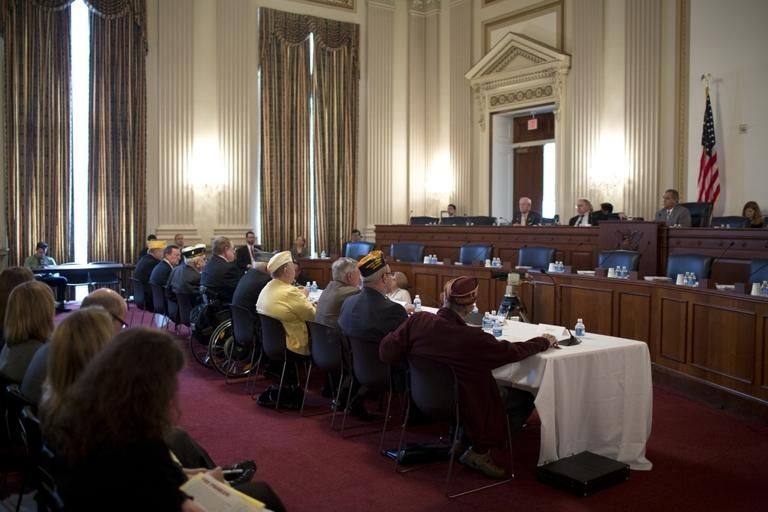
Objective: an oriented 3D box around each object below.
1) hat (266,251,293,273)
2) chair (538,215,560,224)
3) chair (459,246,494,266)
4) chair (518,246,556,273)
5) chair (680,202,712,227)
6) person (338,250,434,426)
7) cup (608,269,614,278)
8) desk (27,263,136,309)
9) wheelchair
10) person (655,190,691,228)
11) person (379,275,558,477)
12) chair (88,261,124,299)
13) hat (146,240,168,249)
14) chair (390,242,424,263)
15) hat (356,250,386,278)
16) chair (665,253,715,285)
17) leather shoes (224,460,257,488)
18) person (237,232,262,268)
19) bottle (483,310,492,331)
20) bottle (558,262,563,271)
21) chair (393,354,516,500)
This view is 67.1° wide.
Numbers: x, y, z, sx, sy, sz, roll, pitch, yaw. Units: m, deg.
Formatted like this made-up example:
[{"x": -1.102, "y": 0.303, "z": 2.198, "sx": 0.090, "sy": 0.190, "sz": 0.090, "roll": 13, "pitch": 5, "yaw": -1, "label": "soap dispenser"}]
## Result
[{"x": -1.138, "y": 0.071, "z": 6.187, "sx": 0.204, "sy": 0.112, "sz": 0.262, "roll": -10, "pitch": -7, "yaw": -39, "label": "hat"}, {"x": 3.096, "y": -0.664, "z": 10.896, "sx": 0.386, "sy": 0.179, "sz": 0.300, "roll": 1, "pitch": 3, "yaw": -21, "label": "chair"}, {"x": 1.515, "y": -0.035, "z": 9.628, "sx": 0.320, "sy": 0.511, "sz": 0.390, "roll": 0, "pitch": -4, "yaw": 33, "label": "chair"}, {"x": 2.260, "y": 0.039, "z": 8.770, "sx": 0.365, "sy": 0.568, "sz": 0.433, "roll": 1, "pitch": -7, "yaw": 37, "label": "chair"}, {"x": 4.876, "y": -0.633, "z": 9.101, "sx": 0.339, "sy": 0.528, "sz": 0.418, "roll": -3, "pitch": 0, "yaw": 40, "label": "chair"}, {"x": 0.014, "y": 0.747, "z": 5.350, "sx": 0.682, "sy": 1.544, "sz": 0.674, "roll": -4, "pitch": 4, "yaw": -35, "label": "person"}, {"x": 2.804, "y": 0.205, "z": 7.214, "sx": 0.087, "sy": 0.100, "sz": 0.095, "roll": -2, "pitch": 14, "yaw": 0, "label": "cup"}, {"x": -5.576, "y": 0.600, "z": 11.312, "sx": 0.773, "sy": 0.865, "sz": 1.316, "roll": 1, "pitch": 2, "yaw": 43, "label": "desk"}, {"x": -1.900, "y": 0.930, "z": 7.308, "sx": 0.805, "sy": 1.039, "sz": 0.680, "roll": -6, "pitch": -1, "yaw": -29, "label": "wheelchair"}, {"x": 4.502, "y": -0.647, "z": 9.114, "sx": 0.392, "sy": 0.791, "sz": 0.533, "roll": -4, "pitch": 5, "yaw": -16, "label": "person"}, {"x": 0.659, "y": 0.960, "z": 4.650, "sx": 1.289, "sy": 1.565, "sz": 0.505, "roll": -2, "pitch": 9, "yaw": -9, "label": "person"}, {"x": -4.663, "y": 0.347, "z": 9.682, "sx": 0.538, "sy": 0.866, "sz": 0.562, "roll": 1, "pitch": -12, "yaw": -27, "label": "chair"}, {"x": -3.784, "y": -0.194, "z": 9.660, "sx": 0.336, "sy": 0.189, "sz": 0.404, "roll": 0, "pitch": 0, "yaw": -26, "label": "hat"}, {"x": 0.420, "y": -0.069, "z": 10.294, "sx": 0.352, "sy": 0.560, "sz": 0.434, "roll": 0, "pitch": -5, "yaw": 14, "label": "chair"}, {"x": -0.099, "y": 0.029, "z": 5.218, "sx": 0.181, "sy": 0.135, "sz": 0.250, "roll": -16, "pitch": 18, "yaw": 35, "label": "hat"}, {"x": 3.770, "y": 0.146, "z": 7.186, "sx": 0.357, "sy": 0.544, "sz": 0.442, "roll": -2, "pitch": -7, "yaw": 44, "label": "chair"}, {"x": -0.942, "y": 1.377, "z": 3.771, "sx": 0.118, "sy": 0.171, "sz": 0.401, "roll": 2, "pitch": 1, "yaw": -25, "label": "leather shoes"}, {"x": -2.300, "y": -0.041, "z": 10.111, "sx": 0.483, "sy": 0.789, "sz": 0.573, "roll": 0, "pitch": 25, "yaw": -13, "label": "person"}, {"x": 0.966, "y": 0.613, "z": 5.481, "sx": 0.105, "sy": 0.205, "sz": 0.111, "roll": 0, "pitch": -3, "yaw": 0, "label": "bottle"}, {"x": 2.401, "y": 0.139, "z": 7.949, "sx": 0.085, "sy": 0.168, "sz": 0.091, "roll": 0, "pitch": 7, "yaw": 0, "label": "bottle"}, {"x": 0.500, "y": 1.253, "z": 5.049, "sx": 0.892, "sy": 1.343, "sz": 1.163, "roll": 0, "pitch": 0, "yaw": -32, "label": "chair"}]
